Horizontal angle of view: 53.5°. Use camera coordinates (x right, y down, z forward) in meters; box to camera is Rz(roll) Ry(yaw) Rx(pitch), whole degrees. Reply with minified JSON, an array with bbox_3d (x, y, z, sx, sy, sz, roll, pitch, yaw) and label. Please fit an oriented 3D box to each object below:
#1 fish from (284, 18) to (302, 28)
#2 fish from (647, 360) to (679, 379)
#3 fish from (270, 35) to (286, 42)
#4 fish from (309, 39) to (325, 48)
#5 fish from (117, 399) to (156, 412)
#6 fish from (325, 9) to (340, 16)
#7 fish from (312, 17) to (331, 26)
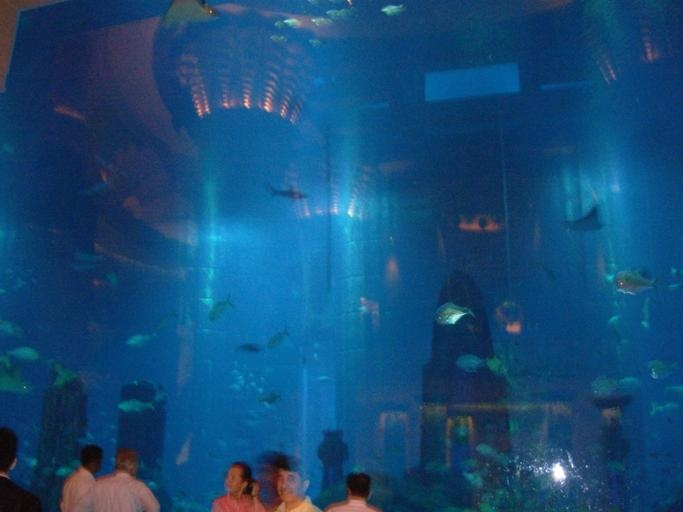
[{"bbox_3d":[-1.289,-6.316,18.381,0.222,0.067,0.236,-13,-18,42],"label":"fish"},{"bbox_3d":[7.419,2.601,15.773,0.477,0.419,0.807,-8,-20,28],"label":"fish"},{"bbox_3d":[-1.715,-5.998,18.696,0.281,0.099,0.170,0,6,18],"label":"fish"},{"bbox_3d":[-0.687,-5.919,18.814,0.251,0.062,0.251,16,-49,6],"label":"fish"},{"bbox_3d":[-5.237,3.817,17.296,0.541,0.132,0.416,10,4,-10],"label":"fish"},{"bbox_3d":[-0.168,-6.479,18.082,0.437,0.077,0.296,4,-17,-7],"label":"fish"},{"bbox_3d":[-0.536,-6.336,18.294,0.243,0.074,0.232,-4,-11,32],"label":"fish"}]
